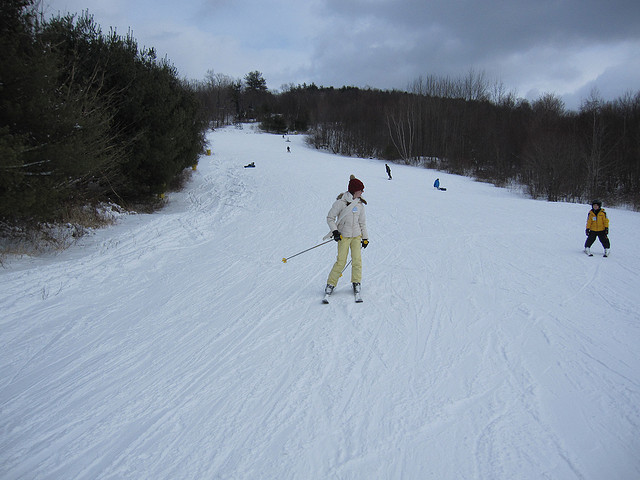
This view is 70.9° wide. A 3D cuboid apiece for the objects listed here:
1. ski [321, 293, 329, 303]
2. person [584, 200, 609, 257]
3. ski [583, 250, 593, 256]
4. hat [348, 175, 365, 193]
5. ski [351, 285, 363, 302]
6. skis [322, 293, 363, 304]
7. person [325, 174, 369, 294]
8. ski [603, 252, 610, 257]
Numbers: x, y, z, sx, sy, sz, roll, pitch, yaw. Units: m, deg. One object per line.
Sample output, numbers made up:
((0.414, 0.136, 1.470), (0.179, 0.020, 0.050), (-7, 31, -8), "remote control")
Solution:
((0.153, 1.465, 11.442), (0.106, 0.236, 0.242), (-2, 55, 18), "ski")
((9.005, -0.309, 14.658), (0.629, 0.537, 1.996), (-1, 55, 32), "person")
((8.882, 0.440, 14.891), (0.238, 0.068, 0.360), (10, 20, 29), "ski")
((0.909, -1.422, 11.307), (0.352, 0.431, 0.341), (-3, 18, 13), "hat")
((0.959, 1.371, 11.529), (0.214, 0.309, 0.336), (1, 15, 5), "ski")
((0.570, 1.448, 11.507), (1.032, 0.251, 0.272), (0, 15, 0), "skis")
((0.662, -0.038, 11.356), (1.036, 2.972, 0.682), (-1, 13, -5), "person")
((9.352, 0.476, 14.702), (0.108, 0.162, 0.341), (1, 4, 41), "ski")
